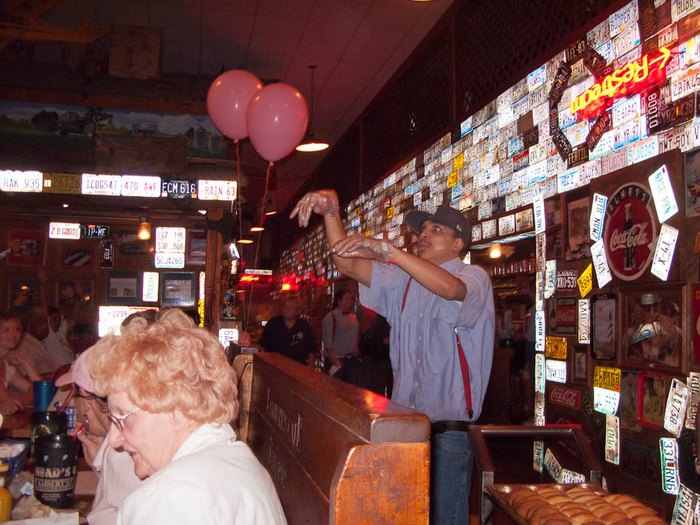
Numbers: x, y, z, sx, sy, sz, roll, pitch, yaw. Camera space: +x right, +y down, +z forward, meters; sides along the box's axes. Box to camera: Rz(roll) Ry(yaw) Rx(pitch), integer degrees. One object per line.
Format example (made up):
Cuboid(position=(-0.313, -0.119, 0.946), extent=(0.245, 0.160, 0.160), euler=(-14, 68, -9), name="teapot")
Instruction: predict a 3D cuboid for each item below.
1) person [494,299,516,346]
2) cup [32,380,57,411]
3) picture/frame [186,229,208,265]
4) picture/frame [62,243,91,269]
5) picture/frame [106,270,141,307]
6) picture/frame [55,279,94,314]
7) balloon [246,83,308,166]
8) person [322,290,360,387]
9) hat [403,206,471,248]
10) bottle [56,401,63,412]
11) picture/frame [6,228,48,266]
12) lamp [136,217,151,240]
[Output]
Cuboid(position=(2.977, 1.118, 10.773), extent=(0.307, 0.916, 2.256), euler=(1, -6, 14), name="person")
Cuboid(position=(-2.042, 0.903, 3.816), extent=(0.164, 0.221, 0.176), euler=(2, -8, 0), name="cup")
Cuboid(position=(-2.734, -0.260, 10.053), extent=(0.504, 0.847, 0.076), euler=(0, -9, -4), name="picture/frame")
Cuboid(position=(-4.750, -0.109, 9.769), extent=(0.509, 0.432, 0.032), euler=(3, -5, -8), name="picture/frame")
Cuboid(position=(-3.948, 0.443, 9.969), extent=(0.600, 0.749, 0.493), euler=(0, -7, -13), name="picture/frame")
Cuboid(position=(-4.763, 0.598, 9.611), extent=(0.464, 0.577, 0.085), euler=(1, -7, -6), name="picture/frame")
Cuboid(position=(-0.718, -1.511, 6.242), extent=(0.682, 1.027, 0.731), euler=(-4, 25, -28), name="balloon")
Cuboid(position=(-0.075, 1.426, 9.388), extent=(0.584, 2.001, 0.504), euler=(-3, 14, -16), name="person")
Cuboid(position=(0.594, -0.280, 3.710), extent=(0.413, 0.228, 0.262), euler=(37, -3, -12), name="hat")
Cuboid(position=(-1.938, 0.967, 3.738), extent=(0.053, 0.015, 0.057), euler=(0, 27, 0), name="bottle")
Cuboid(position=(-5.504, -0.266, 9.478), extent=(0.513, 0.703, 0.082), euler=(2, -12, -22), name="picture/frame")
Cuboid(position=(-3.545, -0.591, 9.675), extent=(0.214, 0.367, 0.555), euler=(4, -6, -21), name="lamp")
